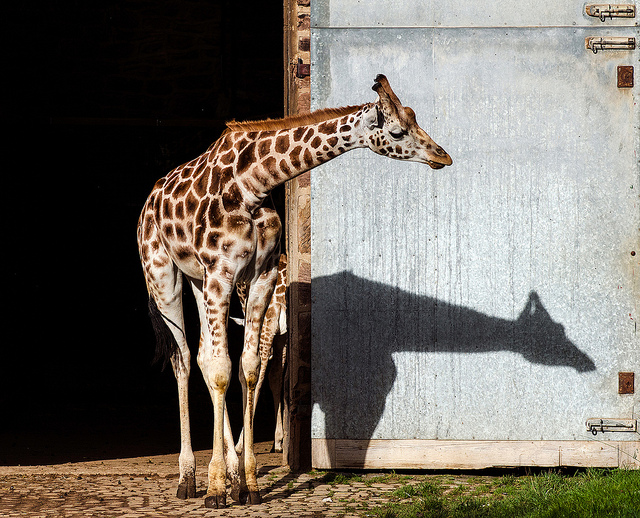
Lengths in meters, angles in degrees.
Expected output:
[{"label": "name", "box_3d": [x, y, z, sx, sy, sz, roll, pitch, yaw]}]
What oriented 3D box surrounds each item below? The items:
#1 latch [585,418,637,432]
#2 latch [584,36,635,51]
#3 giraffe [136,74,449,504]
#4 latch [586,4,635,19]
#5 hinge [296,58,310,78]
[{"label": "latch", "box_3d": [2.656, 1.490, 13.053, 0.460, 0.131, 0.047, -3, 8, 5]}, {"label": "latch", "box_3d": [2.660, -2.011, 13.207, 0.552, 0.171, 0.159, 0, 11, 3]}, {"label": "giraffe", "box_3d": [-0.484, 0.215, 12.533, 2.271, 3.568, 1.051, -3, 8, -1]}, {"label": "latch", "box_3d": [2.663, -2.303, 13.134, 0.449, 0.135, 0.039, -4, 8, -4]}, {"label": "hinge", "box_3d": [-0.160, -1.784, 13.118, 0.153, 0.181, 0.119, 0, 3, 2]}]
